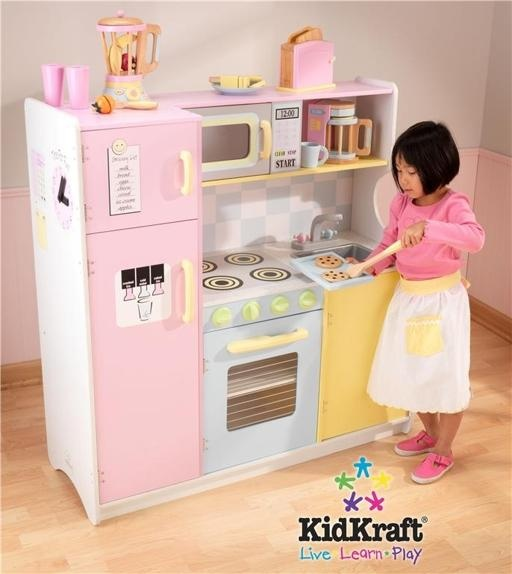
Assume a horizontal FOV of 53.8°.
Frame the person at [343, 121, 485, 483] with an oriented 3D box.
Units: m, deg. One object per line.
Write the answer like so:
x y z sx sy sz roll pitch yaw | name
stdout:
0.556 0.074 1.742 0.399 1.227 0.479 6 19 23 | person

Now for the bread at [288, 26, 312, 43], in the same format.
0.155 -0.855 1.723 0.088 0.023 0.061 -25 39 -30 | bread

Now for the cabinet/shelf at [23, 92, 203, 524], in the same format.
-0.400 0.074 1.630 0.555 1.270 0.429 -10 28 -29 | cabinet/shelf

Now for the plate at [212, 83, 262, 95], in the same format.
-0.056 -0.639 1.646 0.161 0.038 0.113 -2 16 -3 | plate

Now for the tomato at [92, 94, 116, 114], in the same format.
-0.372 -0.446 1.239 0.051 0.049 0.064 -6 17 -15 | tomato

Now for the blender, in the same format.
-0.359 -0.620 1.386 0.166 0.220 0.217 27 37 28 | blender

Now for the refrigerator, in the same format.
-0.406 0.077 1.628 0.558 1.268 0.432 -10 28 -29 | refrigerator

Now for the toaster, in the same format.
0.171 -0.777 1.810 0.253 0.228 0.187 -9 22 -27 | toaster

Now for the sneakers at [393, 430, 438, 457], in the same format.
0.618 0.599 1.966 0.167 0.059 0.067 -6 15 -24 | sneakers

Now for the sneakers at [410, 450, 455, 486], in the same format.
0.627 0.645 1.796 0.161 0.059 0.073 -16 20 -37 | sneakers

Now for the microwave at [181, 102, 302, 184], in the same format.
-0.052 -0.526 1.676 0.456 0.254 0.278 -11 27 -24 | microwave

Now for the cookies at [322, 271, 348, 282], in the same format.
0.257 -0.034 1.637 0.073 0.017 0.107 12 20 37 | cookies

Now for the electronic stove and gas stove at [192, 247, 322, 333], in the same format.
-0.023 -0.003 1.759 0.429 0.145 0.494 -6 17 -16 | electronic stove and gas stove

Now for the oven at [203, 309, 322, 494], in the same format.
-0.039 0.349 1.801 0.416 0.541 0.323 -9 25 -29 | oven
